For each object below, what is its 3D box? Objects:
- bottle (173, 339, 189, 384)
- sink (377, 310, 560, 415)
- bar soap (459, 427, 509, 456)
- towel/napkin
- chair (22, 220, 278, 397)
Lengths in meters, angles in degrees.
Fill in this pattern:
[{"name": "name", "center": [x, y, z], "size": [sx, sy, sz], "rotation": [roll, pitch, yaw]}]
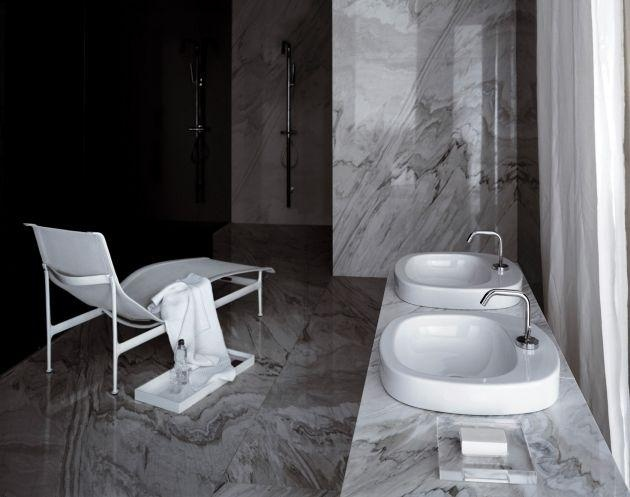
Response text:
[{"name": "bottle", "center": [-0.702, 0.581, 2.693], "size": [0.078, 0.228, 0.135], "rotation": [-3, 13, -16]}, {"name": "sink", "center": [0.443, 0.357, 1.524], "size": [0.468, 0.214, 0.725], "rotation": [-2, 5, 11]}, {"name": "bar soap", "center": [0.355, 0.407, 1.085], "size": [0.097, 0.031, 0.061], "rotation": [1, 14, 2]}, {"name": "towel/napkin", "center": [-0.655, 0.416, 2.800], "size": [0.346, 0.628, 0.146], "rotation": [-16, 4, -28]}, {"name": "chair", "center": [-0.932, 0.138, 3.199], "size": [0.676, 0.866, 1.365], "rotation": [7, 14, 32]}]
